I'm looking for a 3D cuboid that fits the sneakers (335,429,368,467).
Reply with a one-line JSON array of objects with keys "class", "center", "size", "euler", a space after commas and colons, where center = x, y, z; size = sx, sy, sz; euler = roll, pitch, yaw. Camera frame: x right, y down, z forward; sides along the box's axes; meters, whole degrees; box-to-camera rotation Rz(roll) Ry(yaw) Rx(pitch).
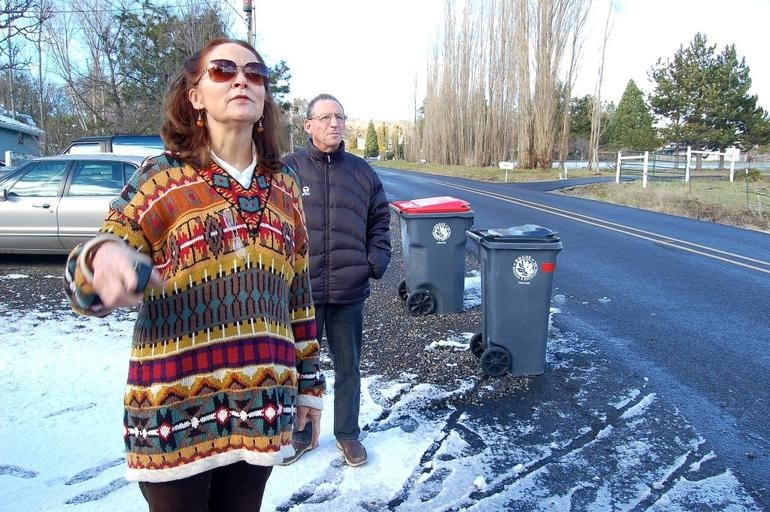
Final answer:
[{"class": "sneakers", "center": [-0.279, 1.499, 4.360], "size": [0.141, 0.132, 0.308], "euler": [-2, 5, -26]}]
